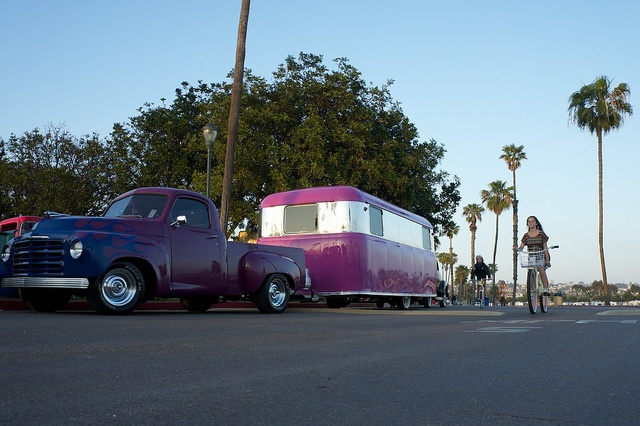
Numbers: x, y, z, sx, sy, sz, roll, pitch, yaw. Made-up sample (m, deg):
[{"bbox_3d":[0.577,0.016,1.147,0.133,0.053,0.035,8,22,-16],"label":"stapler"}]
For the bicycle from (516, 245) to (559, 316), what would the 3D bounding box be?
[{"bbox_3d":[6.348,1.907,14.745,1.025,1.542,2.332,-6,9,34],"label":"bicycle"}]
